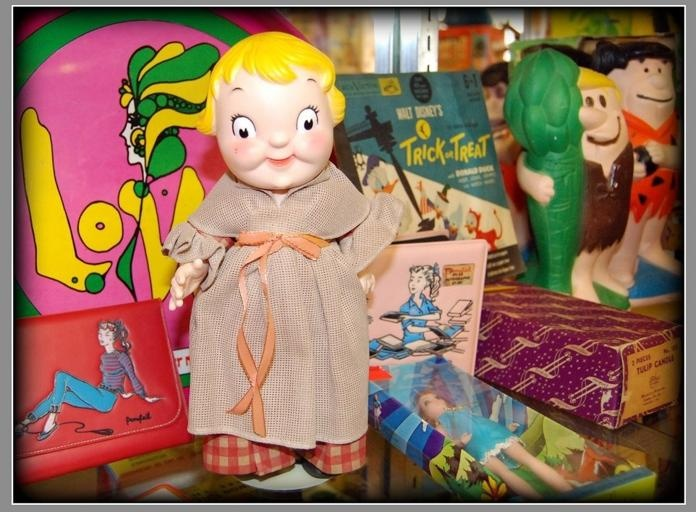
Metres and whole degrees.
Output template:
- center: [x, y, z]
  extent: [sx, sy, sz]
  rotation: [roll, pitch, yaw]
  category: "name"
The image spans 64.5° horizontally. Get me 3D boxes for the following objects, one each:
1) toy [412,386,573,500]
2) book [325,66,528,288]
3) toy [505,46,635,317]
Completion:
- center: [0.404, 0.540, 1.610]
  extent: [0.152, 0.125, 0.457]
  rotation: [-16, 37, -31]
  category: "toy"
- center: [0.266, -0.288, 1.975]
  extent: [0.774, 0.889, 0.096]
  rotation: [-9, -6, -32]
  category: "book"
- center: [0.946, -0.266, 2.267]
  extent: [0.556, 1.126, 0.225]
  rotation: [-10, 12, -18]
  category: "toy"
